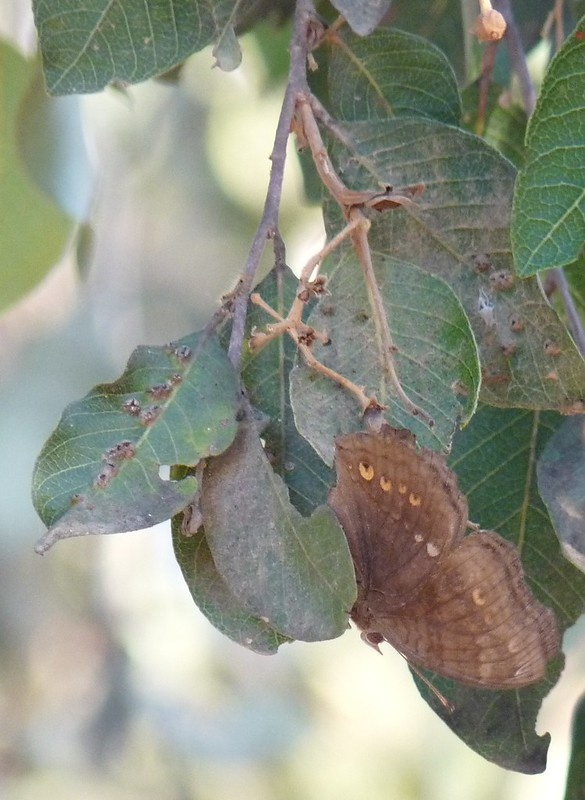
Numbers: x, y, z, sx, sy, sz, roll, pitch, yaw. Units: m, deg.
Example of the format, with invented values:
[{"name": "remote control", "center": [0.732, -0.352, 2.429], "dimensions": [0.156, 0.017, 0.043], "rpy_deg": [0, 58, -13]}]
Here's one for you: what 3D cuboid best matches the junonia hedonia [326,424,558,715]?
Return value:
[{"name": "junonia hedonia", "center": [0.085, 0.081, 0.670], "dimensions": [0.072, 0.152, 0.164], "rpy_deg": [-34, 71, -28]}]
